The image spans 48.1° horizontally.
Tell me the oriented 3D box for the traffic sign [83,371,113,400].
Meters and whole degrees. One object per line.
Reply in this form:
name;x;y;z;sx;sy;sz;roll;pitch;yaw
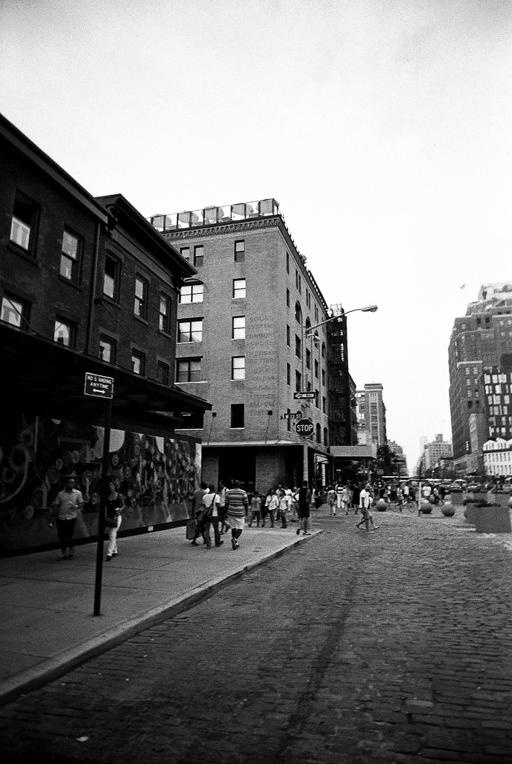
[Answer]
traffic sign;-2.064;0.033;7.527;0.282;0.377;0.567;0;-10;-7

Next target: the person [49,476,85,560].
person;-4.071;2.953;12.303;0.607;1.640;1.062;2;-10;-20

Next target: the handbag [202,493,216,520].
handbag;-1.154;3.142;14.623;0.448;0.623;0.322;5;-10;-32

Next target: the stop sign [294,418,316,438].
stop sign;1.942;1.800;22.986;0.617;0.804;1.041;-1;-10;0
